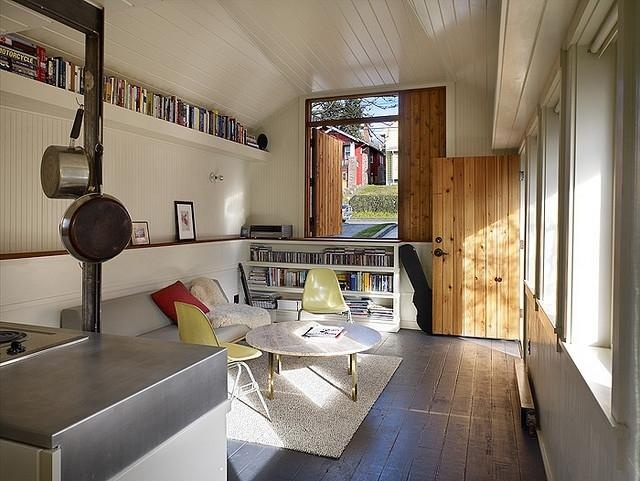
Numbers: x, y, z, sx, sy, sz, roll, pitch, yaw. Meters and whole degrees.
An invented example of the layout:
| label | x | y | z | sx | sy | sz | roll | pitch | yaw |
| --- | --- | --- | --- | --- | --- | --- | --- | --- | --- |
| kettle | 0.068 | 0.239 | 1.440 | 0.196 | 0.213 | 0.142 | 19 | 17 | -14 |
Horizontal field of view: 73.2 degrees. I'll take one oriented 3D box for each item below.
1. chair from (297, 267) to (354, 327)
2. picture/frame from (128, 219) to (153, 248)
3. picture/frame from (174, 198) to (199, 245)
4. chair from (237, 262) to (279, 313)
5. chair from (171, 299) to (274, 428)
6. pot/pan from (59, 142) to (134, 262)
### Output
| label | x | y | z | sx | sy | sz | roll | pitch | yaw |
| --- | --- | --- | --- | --- | --- | --- | --- | --- | --- |
| chair | 0.021 | 0.675 | 5.424 | 0.524 | 1.038 | 0.688 | 0 | -9 | -3 |
| picture/frame | -1.824 | -0.069 | 4.342 | 0.028 | 0.304 | 0.301 | -9 | -4 | 19 |
| picture/frame | -1.735 | -0.261 | 5.553 | 0.123 | 0.500 | 0.384 | 2 | 4 | 14 |
| chair | -0.948 | 0.687 | 6.614 | 0.628 | 0.953 | 0.610 | -2 | 2 | 7 |
| chair | -0.657 | 0.940 | 3.597 | 0.817 | 0.922 | 0.831 | 3 | 5 | 31 |
| pot/pan | -0.959 | -0.058 | 1.828 | 0.282 | 0.302 | 0.092 | 19 | -9 | -37 |
